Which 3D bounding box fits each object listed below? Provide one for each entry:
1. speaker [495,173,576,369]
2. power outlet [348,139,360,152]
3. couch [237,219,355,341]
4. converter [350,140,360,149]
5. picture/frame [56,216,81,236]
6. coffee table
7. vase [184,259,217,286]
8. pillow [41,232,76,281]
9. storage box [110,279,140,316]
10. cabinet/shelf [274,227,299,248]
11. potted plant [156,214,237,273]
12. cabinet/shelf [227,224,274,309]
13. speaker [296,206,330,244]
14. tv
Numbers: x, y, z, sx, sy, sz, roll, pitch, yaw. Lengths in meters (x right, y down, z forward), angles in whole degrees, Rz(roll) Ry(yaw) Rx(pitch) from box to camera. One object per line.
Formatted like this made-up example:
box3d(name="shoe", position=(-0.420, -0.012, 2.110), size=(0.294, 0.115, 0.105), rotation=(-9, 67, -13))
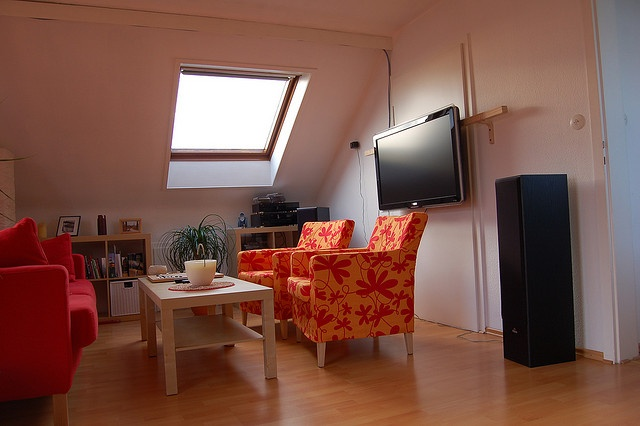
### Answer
box3d(name="speaker", position=(1.615, 0.420, 3.377), size=(0.528, 1.400, 0.341), rotation=(-1, 5, 21))
box3d(name="power outlet", position=(0.422, -0.853, 5.725), size=(0.133, 0.127, 0.133), rotation=(-1, -3, 3))
box3d(name="couch", position=(-0.369, 0.611, 4.828), size=(1.288, 1.345, 0.966), rotation=(1, -3, -30))
box3d(name="converter", position=(0.438, -0.841, 5.693), size=(0.125, 0.119, 0.092), rotation=(-2, -5, 16))
box3d(name="picture/frame", position=(-3.104, 0.159, 5.526), size=(0.243, 0.270, 0.022), rotation=(-4, -19, -10))
box3d(name="coffee table", position=(-0.968, 0.930, 3.791), size=(0.848, 0.615, 1.457), rotation=(-1, -4, -26))
box3d(name="vase", position=(-0.978, 0.481, 3.612), size=(0.274, 0.202, 0.282), rotation=(0, 1, 32))
box3d(name="pillow", position=(-2.290, 0.400, 3.928), size=(0.395, 0.366, 0.136), rotation=(-11, -4, 24))
box3d(name="storage box", position=(-2.344, 1.021, 5.556), size=(0.353, 0.429, 0.455), rotation=(-1, -1, -15))
box3d(name="cabinet/shelf", position=(-0.503, 0.344, 6.221), size=(0.390, 0.362, 0.272), rotation=(0, 2, 28))
box3d(name="potted plant", position=(-1.689, 0.417, 5.954), size=(1.069, 0.627, 0.827), rotation=(1, -1, -1))
box3d(name="cabinet/shelf", position=(-0.934, 0.489, 6.218), size=(0.661, 0.607, 0.357), rotation=(-4, 10, -31))
box3d(name="speaker", position=(-0.130, 0.150, 6.095), size=(0.384, 0.733, 0.518), rotation=(1, -2, -28))
box3d(name="tv", position=(0.981, -0.486, 4.592), size=(0.138, 0.905, 1.263), rotation=(-3, -2, -29))
